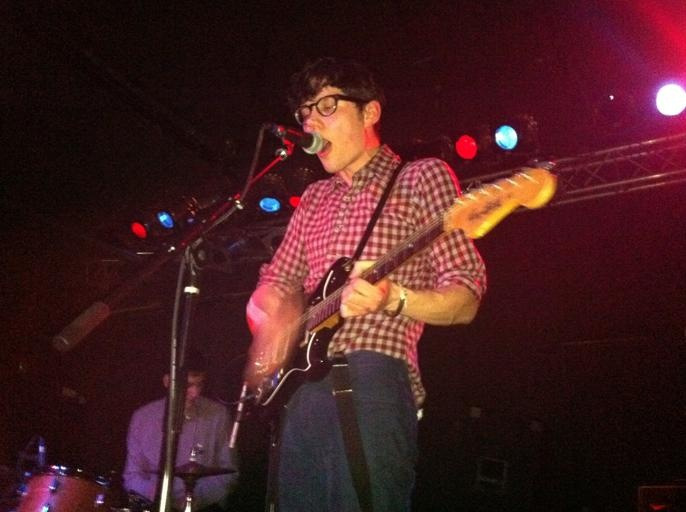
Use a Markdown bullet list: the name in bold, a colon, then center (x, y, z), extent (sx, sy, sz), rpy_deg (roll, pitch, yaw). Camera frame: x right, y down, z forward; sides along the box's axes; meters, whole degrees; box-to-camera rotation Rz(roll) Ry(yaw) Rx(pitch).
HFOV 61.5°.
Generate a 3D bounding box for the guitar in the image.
- **guitar**: center (0.312, 0.193, 3.723), extent (2.132, 1.362, 0.330), rpy_deg (-14, -36, 32)

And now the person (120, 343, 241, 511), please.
- **person**: center (-1.943, 2.185, 7.369), extent (1.449, 1.914, 1.119), rpy_deg (16, -31, -16)

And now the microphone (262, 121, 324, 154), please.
- **microphone**: center (-0.311, -0.832, 4.219), extent (0.523, 0.173, 0.177), rpy_deg (15, -18, -35)

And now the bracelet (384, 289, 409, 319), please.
- **bracelet**: center (0.337, 0.289, 3.587), extent (0.078, 0.157, 0.140), rpy_deg (27, -35, -32)
